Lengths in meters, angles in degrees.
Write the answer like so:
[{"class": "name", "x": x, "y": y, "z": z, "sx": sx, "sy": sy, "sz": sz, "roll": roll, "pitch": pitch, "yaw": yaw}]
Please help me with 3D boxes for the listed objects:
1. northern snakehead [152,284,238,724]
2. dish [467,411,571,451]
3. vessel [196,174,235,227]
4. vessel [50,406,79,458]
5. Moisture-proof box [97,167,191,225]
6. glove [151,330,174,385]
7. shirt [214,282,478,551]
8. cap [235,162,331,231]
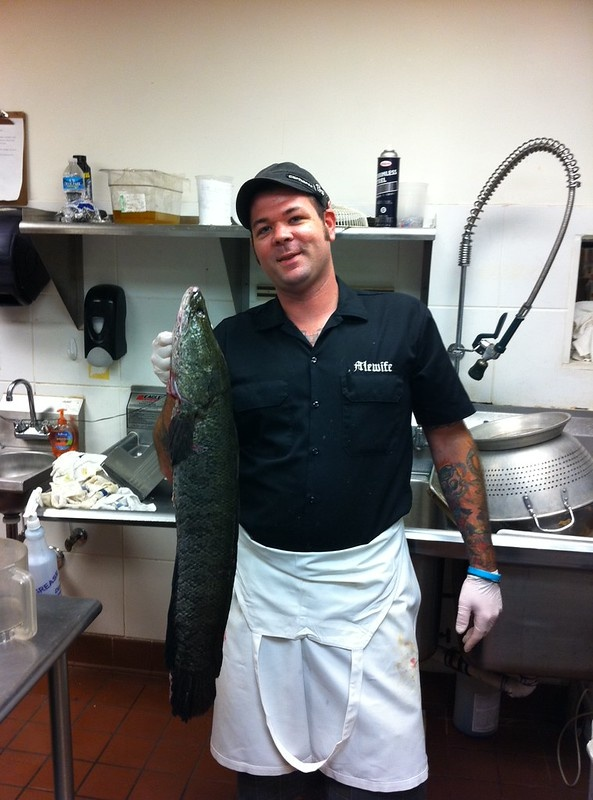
[{"class": "northern snakehead", "x": -0.156, "y": 0.182, "z": 1.055, "sx": 0.115, "sy": 0.726, "sz": 0.062, "roll": -1, "pitch": 8, "yaw": -10}, {"class": "dish", "x": 0.593, "y": 0.083, "z": 1.708, "sx": 0.183, "sy": 0.029, "sz": 0.175, "roll": -18, "pitch": 8, "yaw": -21}, {"class": "vessel", "x": -0.250, "y": -0.617, "z": 1.998, "sx": 0.155, "sy": 0.164, "sz": 0.156, "roll": 1, "pitch": 2, "yaw": 7}, {"class": "vessel", "x": -0.898, "y": 0.127, "z": 2.432, "sx": 0.112, "sy": 0.179, "sz": 0.088, "roll": -1, "pitch": 8, "yaw": -14}, {"class": "Moisture-proof box", "x": -0.504, "y": -0.654, "z": 2.027, "sx": 0.177, "sy": 0.159, "sz": 0.269, "roll": 2, "pitch": 18, "yaw": 1}, {"class": "glove", "x": -0.242, "y": -0.075, "z": 1.133, "sx": 0.033, "sy": 0.090, "sz": 0.071, "roll": 2, "pitch": 25, "yaw": -13}, {"class": "shirt", "x": 0.103, "y": 0.031, "z": 1.329, "sx": 0.541, "sy": 0.543, "sz": 0.213, "roll": 0, "pitch": 7, "yaw": -6}, {"class": "cap", "x": -0.030, "y": -0.415, "z": 1.272, "sx": 0.193, "sy": 0.120, "sz": 0.151, "roll": 1, "pitch": 7, "yaw": 2}]
